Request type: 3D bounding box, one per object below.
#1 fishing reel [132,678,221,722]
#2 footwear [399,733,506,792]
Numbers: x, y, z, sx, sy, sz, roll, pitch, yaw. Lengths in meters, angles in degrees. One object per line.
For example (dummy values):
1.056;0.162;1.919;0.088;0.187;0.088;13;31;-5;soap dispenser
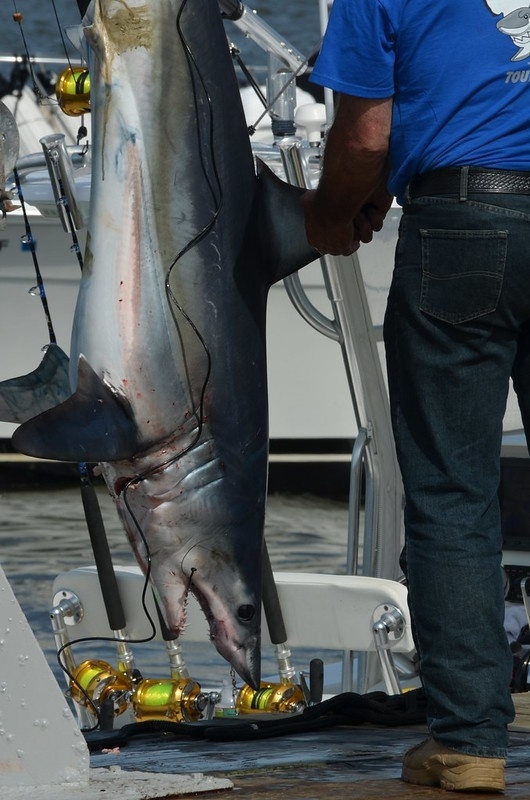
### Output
-0.185;0.579;3.120;0.100;0.080;0.119;-5;-18;16;fishing reel
0.290;0.536;2.423;0.063;0.081;0.158;5;2;-43;footwear
